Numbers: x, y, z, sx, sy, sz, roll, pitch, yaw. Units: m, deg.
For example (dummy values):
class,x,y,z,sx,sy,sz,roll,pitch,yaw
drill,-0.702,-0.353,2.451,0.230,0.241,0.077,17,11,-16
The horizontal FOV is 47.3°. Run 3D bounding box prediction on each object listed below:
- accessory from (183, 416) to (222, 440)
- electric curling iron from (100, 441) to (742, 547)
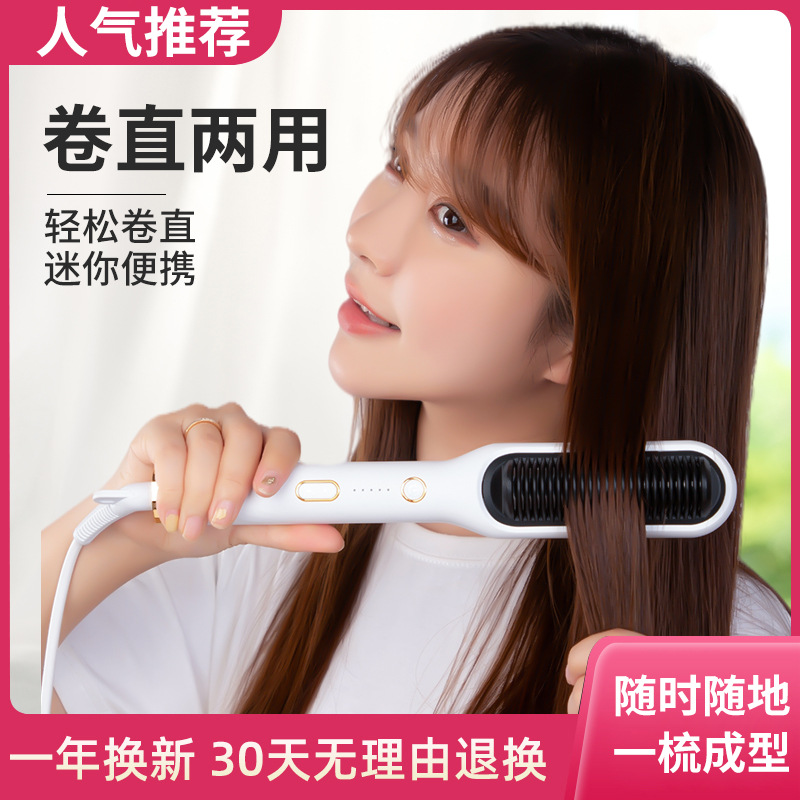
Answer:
class,x,y,z,sx,sy,sz,roll,pitch,yaw
accessory,-0.206,0.028,0.950,0.038,0.017,0.046,4,1,-17
electric curling iron,0.028,0.094,0.915,0.694,0.144,0.088,-1,10,-4
